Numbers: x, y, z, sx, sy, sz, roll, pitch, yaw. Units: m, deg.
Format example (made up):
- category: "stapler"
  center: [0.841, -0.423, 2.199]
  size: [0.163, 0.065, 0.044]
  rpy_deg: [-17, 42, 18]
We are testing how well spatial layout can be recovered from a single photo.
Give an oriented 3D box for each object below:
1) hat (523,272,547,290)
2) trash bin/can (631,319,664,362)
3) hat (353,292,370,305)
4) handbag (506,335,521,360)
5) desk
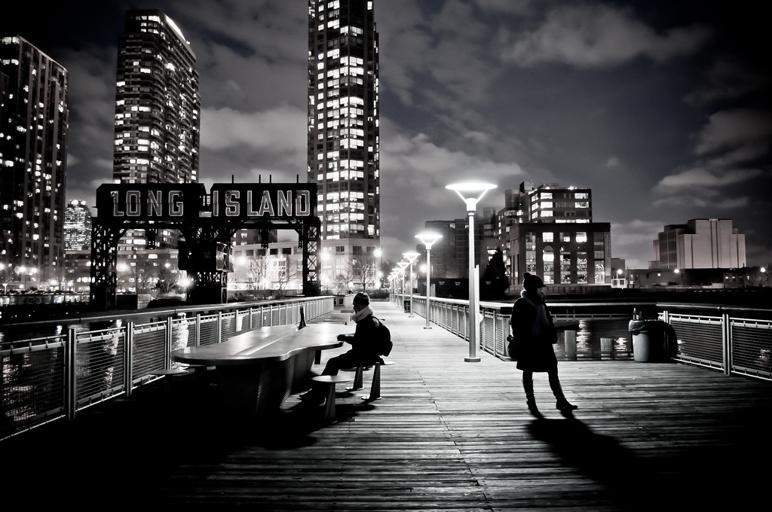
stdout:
- category: "hat"
  center: [2.848, 0.486, 13.464]
  size: [0.287, 0.219, 0.403]
  rpy_deg: [5, -4, 33]
- category: "trash bin/can"
  center: [6.520, 2.183, 17.907]
  size: [0.918, 1.045, 0.946]
  rpy_deg: [0, -7, -1]
- category: "hat"
  center: [-0.482, 0.843, 13.851]
  size: [0.209, 0.223, 0.284]
  rpy_deg: [7, 4, 7]
- category: "handbag"
  center: [2.428, 1.758, 13.426]
  size: [0.316, 0.432, 0.441]
  rpy_deg: [-1, -11, 9]
- category: "desk"
  center: [-2.215, 2.232, 13.594]
  size: [2.074, 1.686, 3.632]
  rpy_deg: [5, 13, 17]
